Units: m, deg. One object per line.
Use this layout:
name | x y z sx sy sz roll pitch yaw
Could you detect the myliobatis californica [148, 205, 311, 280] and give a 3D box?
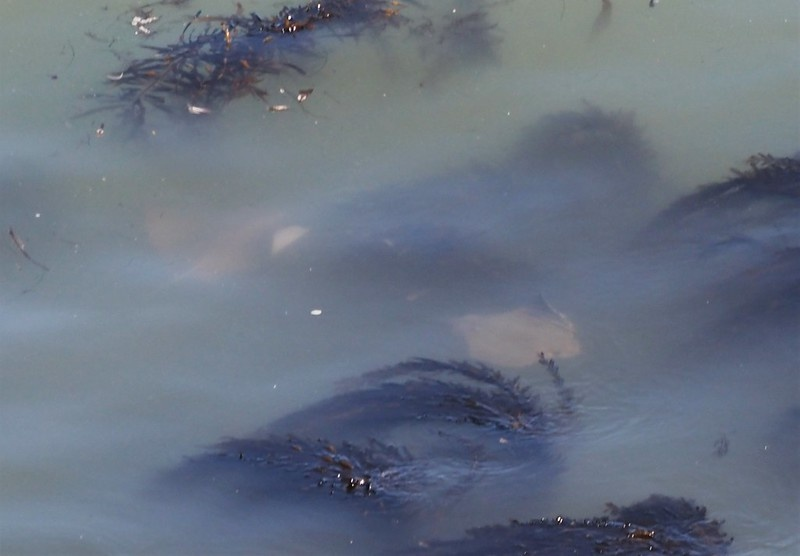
myliobatis californica | -1.172 -0.181 8.100 1.159 0.413 0.436 5 75 14
